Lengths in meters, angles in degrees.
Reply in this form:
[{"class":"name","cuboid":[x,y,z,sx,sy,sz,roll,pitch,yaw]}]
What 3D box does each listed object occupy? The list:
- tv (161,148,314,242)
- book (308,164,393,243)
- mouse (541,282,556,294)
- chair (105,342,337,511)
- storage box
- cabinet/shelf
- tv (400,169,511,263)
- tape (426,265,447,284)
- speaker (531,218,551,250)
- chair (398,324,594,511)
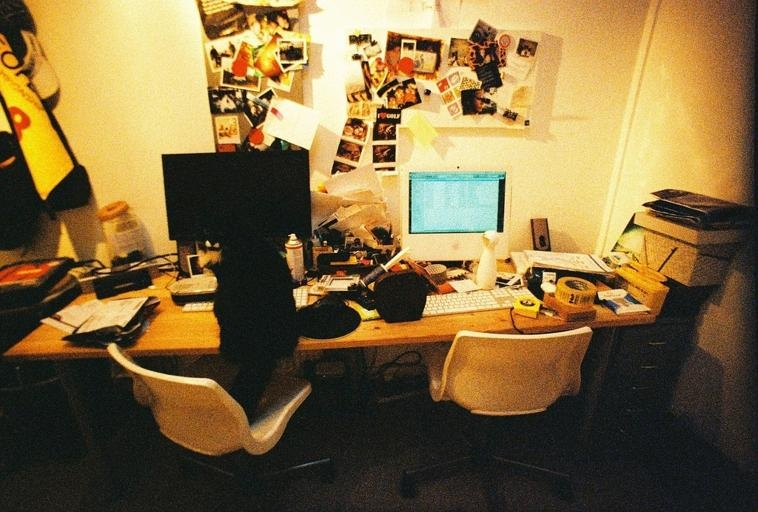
[{"class":"tv","cuboid":[-0.768,-0.326,2.967,0.779,0.473,0.141,-1,24,-4]},{"class":"book","cuboid":[-0.156,-0.293,3.086,0.464,0.430,0.164,-6,1,5]},{"class":"mouse","cuboid":[0.897,0.158,2.846,0.060,0.018,0.059,14,30,38]},{"class":"chair","cuboid":[-0.805,0.893,2.773,0.623,0.693,0.527,16,44,16]},{"class":"storage box","cuboid":[1.535,-0.038,2.846,0.366,0.358,0.502,-2,21,-27]},{"class":"cabinet/shelf","cuboid":[1.605,0.669,3.053,0.449,0.764,0.515,-23,-3,16]},{"class":"tv","cuboid":[0.414,-0.245,2.984,0.528,0.439,0.179,0,13,-2]},{"class":"tape","cuboid":[0.319,0.092,3.018,0.104,0.069,0.099,4,31,7]},{"class":"speaker","cuboid":[0.967,-0.134,3.269,0.116,0.179,0.106,1,24,1]},{"class":"chair","cuboid":[0.640,0.851,2.803,0.782,0.815,0.676,-2,33,-1]}]
